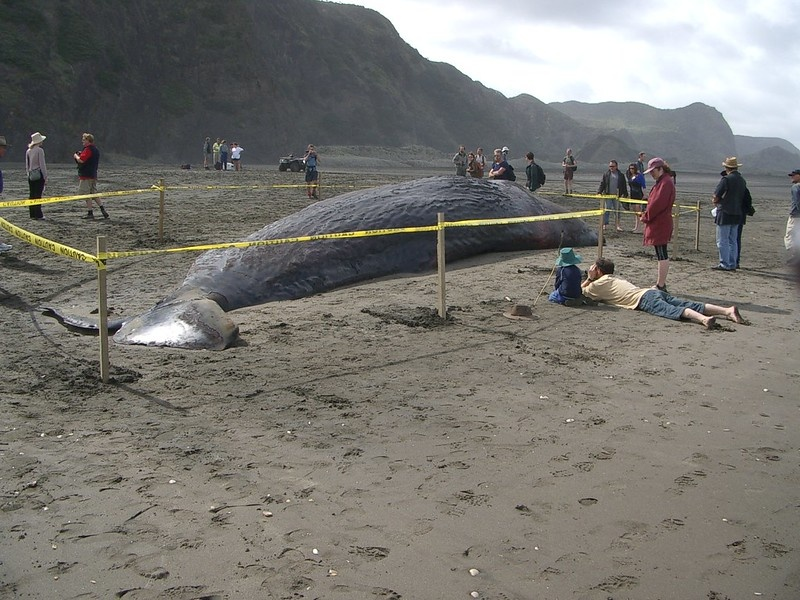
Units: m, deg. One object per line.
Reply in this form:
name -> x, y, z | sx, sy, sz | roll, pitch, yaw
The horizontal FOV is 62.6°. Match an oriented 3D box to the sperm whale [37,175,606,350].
sperm whale -> -0.490, -0.314, 9.606 | 7.873, 1.163, 2.669 | -10, 20, -30

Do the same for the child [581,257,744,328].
child -> 3.191, -0.059, 8.241 | 0.800, 0.498, 1.939 | -9, 19, -44
